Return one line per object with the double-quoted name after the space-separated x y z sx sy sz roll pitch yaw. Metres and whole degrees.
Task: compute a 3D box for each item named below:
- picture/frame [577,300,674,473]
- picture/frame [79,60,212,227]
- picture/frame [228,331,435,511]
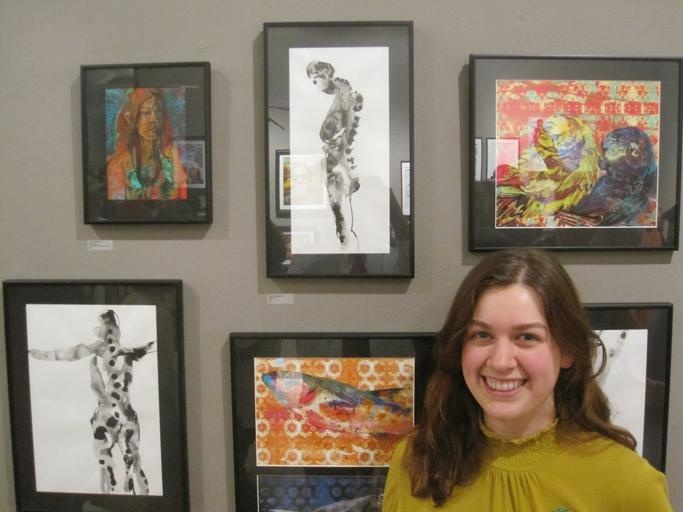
0.796 0.361 2.990 0.258 0.032 0.471 -2 44 23 "picture/frame"
-0.556 -0.338 2.958 0.431 0.563 0.023 0 3 4 "picture/frame"
-0.013 0.458 2.955 0.468 0.509 0.020 -2 4 2 "picture/frame"
